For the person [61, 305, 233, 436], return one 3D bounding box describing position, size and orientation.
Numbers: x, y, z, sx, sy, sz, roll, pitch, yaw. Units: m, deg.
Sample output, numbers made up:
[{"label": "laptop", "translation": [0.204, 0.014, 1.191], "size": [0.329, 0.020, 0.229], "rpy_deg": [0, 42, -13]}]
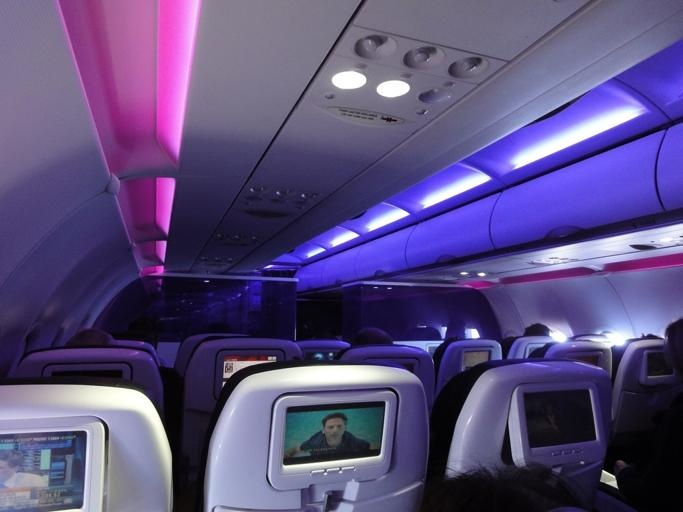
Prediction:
[{"label": "person", "translation": [-1.309, 0.979, 3.673], "size": [1.069, 1.307, 1.301], "rpy_deg": [0, 1, -12]}]
